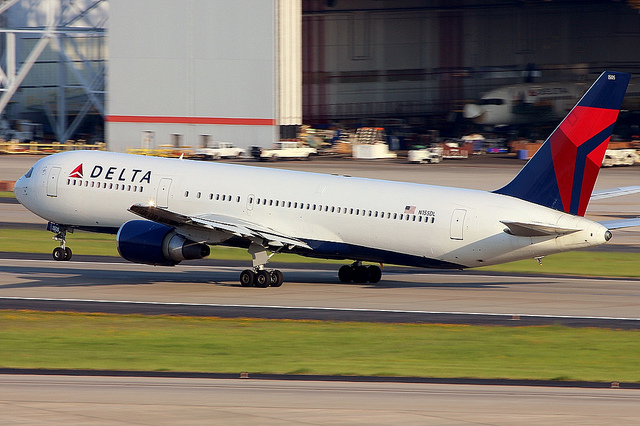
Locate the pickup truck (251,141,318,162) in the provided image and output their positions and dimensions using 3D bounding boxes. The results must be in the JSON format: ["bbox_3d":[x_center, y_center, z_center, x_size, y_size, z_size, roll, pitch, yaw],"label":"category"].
[{"bbox_3d":[-3.742,-6.722,140.857,6.525,1.054,2.830,-4,9,-19],"label":"pickup truck"}]

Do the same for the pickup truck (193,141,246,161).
[{"bbox_3d":[-10.574,-6.824,139.412,5.348,1.022,2.658,-3,7,-27],"label":"pickup truck"}]
